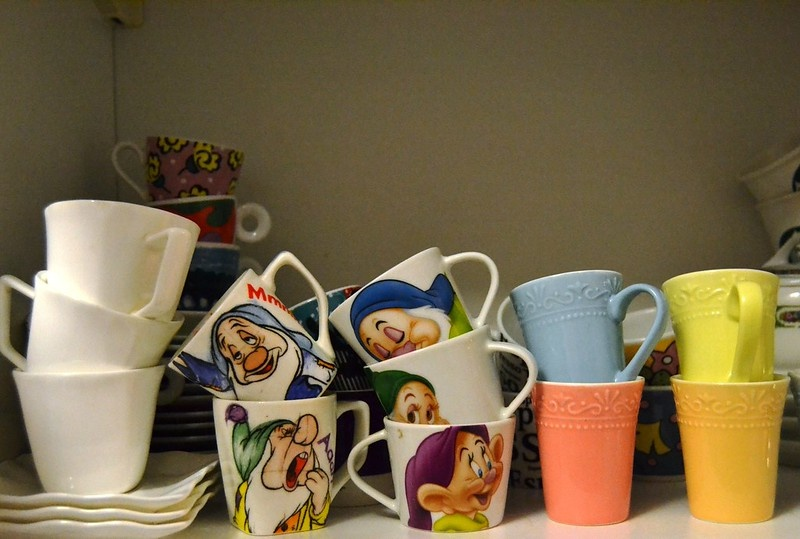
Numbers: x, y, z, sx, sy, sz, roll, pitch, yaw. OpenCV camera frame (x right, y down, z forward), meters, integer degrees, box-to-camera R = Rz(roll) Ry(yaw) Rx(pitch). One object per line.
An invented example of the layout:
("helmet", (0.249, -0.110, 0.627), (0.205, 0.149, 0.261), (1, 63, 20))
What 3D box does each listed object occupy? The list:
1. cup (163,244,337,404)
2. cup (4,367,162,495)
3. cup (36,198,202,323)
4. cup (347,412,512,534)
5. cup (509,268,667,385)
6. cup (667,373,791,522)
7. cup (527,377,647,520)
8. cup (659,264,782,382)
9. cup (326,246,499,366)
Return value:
("cup", (-0.199, 0.080, 1.080), (0.165, 0.193, 0.253), (-5, 20, 38))
("cup", (-0.453, 0.224, 1.042), (0.227, 0.192, 0.215), (2, 3, 0))
("cup", (-0.393, -0.012, 1.017), (0.237, 0.165, 0.201), (13, 2, 43))
("cup", (0.046, 0.295, 0.993), (0.194, 0.118, 0.128), (-1, -9, 4))
("cup", (0.286, 0.083, 1.066), (0.264, 0.178, 0.152), (-11, -15, 32))
("cup", (0.501, 0.268, 1.054), (0.167, 0.192, 0.158), (-2, -7, 0))
("cup", (0.277, 0.273, 1.067), (0.177, 0.198, 0.169), (1, -8, 0))
("cup", (0.508, 0.080, 1.043), (0.195, 0.172, 0.133), (4, -9, -23))
("cup", (0.023, 0.051, 1.110), (0.211, 0.149, 0.162), (-30, -1, 0))
